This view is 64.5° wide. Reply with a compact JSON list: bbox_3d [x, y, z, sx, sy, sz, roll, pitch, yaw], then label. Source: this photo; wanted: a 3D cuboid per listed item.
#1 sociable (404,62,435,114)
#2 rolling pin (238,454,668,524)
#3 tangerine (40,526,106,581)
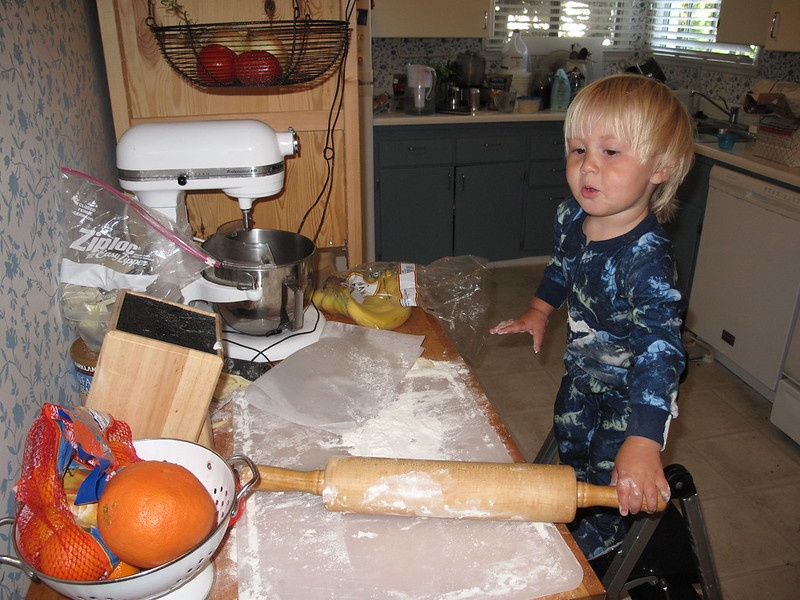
[{"bbox_3d":[0.122,-1.173,3.544,0.256,0.285,0.167,2,19,4],"label":"sociable"},{"bbox_3d":[0.063,0.307,1.031,0.638,0.118,0.112,2,9,2],"label":"rolling pin"},{"bbox_3d":[-0.426,0.335,0.830,0.079,0.077,0.041,-16,25,-35],"label":"tangerine"}]
